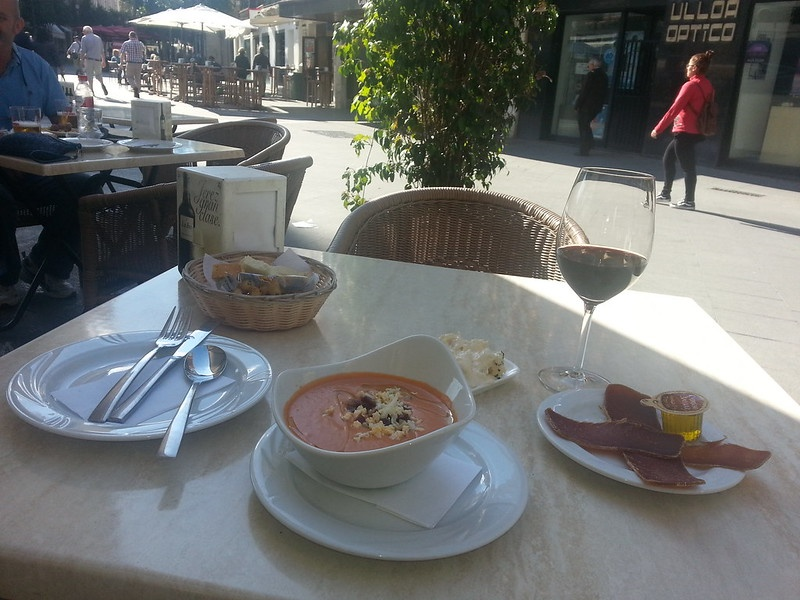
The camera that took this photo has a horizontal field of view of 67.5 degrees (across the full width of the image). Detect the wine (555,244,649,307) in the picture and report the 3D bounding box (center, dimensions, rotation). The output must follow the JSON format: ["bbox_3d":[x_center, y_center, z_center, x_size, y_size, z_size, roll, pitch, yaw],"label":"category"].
[{"bbox_3d":[0.339,-0.050,1.018,0.105,0.087,0.105,-2,36,-22],"label":"wine"}]

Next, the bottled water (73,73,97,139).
[{"bbox_3d":[-1.941,-1.182,3.688,0.110,0.391,0.107,-8,26,-35],"label":"bottled water"}]

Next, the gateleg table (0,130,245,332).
[{"bbox_3d":[-1.249,-0.228,3.229,1.030,0.870,1.121,3,26,-2],"label":"gateleg table"}]

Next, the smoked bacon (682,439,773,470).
[{"bbox_3d":[0.441,0.209,0.805,0.090,0.017,0.055,3,11,6],"label":"smoked bacon"}]

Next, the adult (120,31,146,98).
[{"bbox_3d":[-7.483,-6.651,16.854,0.502,1.793,0.612,12,19,26],"label":"adult"}]

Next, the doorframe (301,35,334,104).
[{"bbox_3d":[-2.610,-7.494,19.188,1.179,1.879,1.186,3,23,5],"label":"doorframe"}]

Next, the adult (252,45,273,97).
[{"bbox_3d":[-4.530,-7.559,19.558,0.574,1.521,0.381,2,51,-15],"label":"adult"}]

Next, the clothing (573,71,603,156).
[{"bbox_3d":[3.437,-3.429,10.865,0.479,1.540,0.459,11,23,16],"label":"clothing"}]

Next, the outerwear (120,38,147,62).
[{"bbox_3d":[-7.493,-7.023,16.880,0.483,0.610,1.243,-7,26,-25],"label":"outerwear"}]

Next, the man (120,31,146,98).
[{"bbox_3d":[-7.482,-6.619,16.855,0.517,1.758,0.666,11,18,27],"label":"man"}]

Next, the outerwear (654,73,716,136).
[{"bbox_3d":[3.270,-2.221,6.860,0.504,0.703,0.405,15,25,25],"label":"outerwear"}]

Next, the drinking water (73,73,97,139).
[{"bbox_3d":[-1.939,-1.185,3.686,0.109,0.389,0.111,-10,30,-36],"label":"drinking water"}]
